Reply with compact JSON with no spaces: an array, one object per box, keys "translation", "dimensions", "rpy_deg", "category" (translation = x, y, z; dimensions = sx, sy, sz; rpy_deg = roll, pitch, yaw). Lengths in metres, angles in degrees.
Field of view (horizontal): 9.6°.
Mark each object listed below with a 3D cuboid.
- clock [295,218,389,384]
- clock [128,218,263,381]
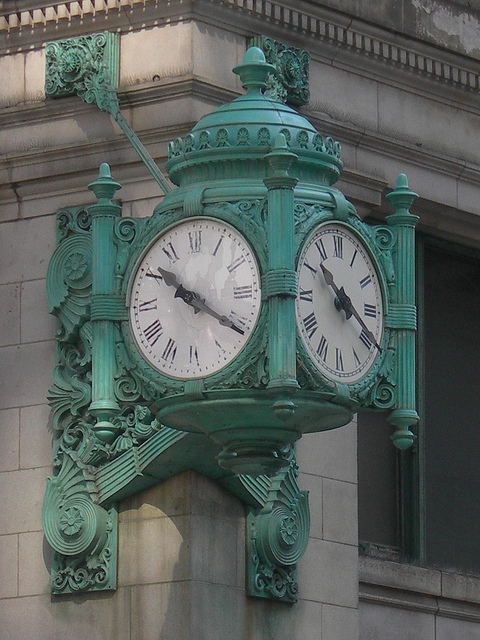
[{"translation":[0.640,-0.113,19.040],"dimensions":[0.105,1.034,0.806],"rpy_deg":[-14,-22,34],"category":"clock"},{"translation":[-0.272,-0.119,18.841],"dimensions":[0.854,1.160,0.076],"rpy_deg":[-6,-15,28],"category":"clock"}]
